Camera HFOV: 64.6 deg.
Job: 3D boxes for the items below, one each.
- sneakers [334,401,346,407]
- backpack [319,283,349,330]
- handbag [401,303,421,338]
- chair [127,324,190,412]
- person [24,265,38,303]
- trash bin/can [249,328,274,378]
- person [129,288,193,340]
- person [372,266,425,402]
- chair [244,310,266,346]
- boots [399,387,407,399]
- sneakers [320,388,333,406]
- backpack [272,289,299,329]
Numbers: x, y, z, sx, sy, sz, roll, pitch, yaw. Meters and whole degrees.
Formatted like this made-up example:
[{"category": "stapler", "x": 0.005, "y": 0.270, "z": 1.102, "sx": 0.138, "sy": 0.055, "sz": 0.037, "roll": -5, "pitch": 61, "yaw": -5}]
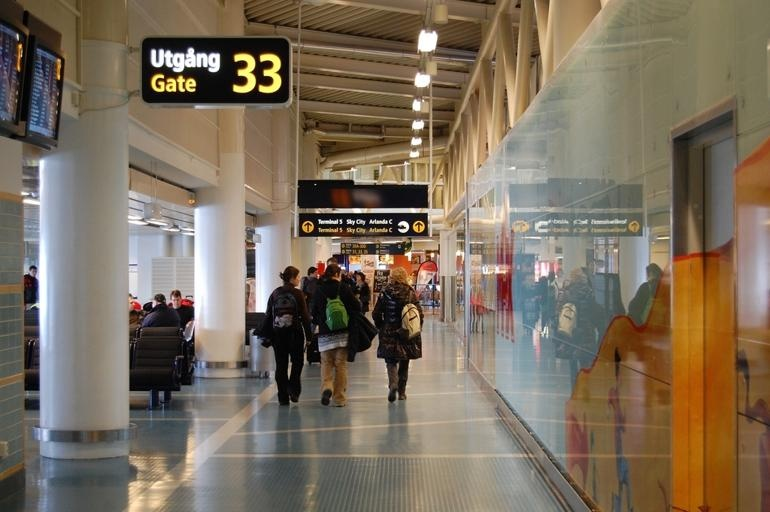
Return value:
[{"category": "sneakers", "x": -0.636, "y": 2.192, "z": 8.955, "sx": 0.172, "sy": 0.063, "sz": 0.157, "roll": 0, "pitch": -2, "yaw": -25}, {"category": "backpack", "x": -0.724, "y": 0.806, "z": 8.935, "sx": 0.355, "sy": 0.560, "sz": 0.345, "roll": -8, "pitch": 11, "yaw": 5}, {"category": "handbag", "x": 0.371, "y": 0.996, "z": 9.169, "sx": 0.335, "sy": 0.493, "sz": 0.233, "roll": -18, "pitch": 16, "yaw": -39}, {"category": "chair", "x": -3.360, "y": 1.673, "z": 8.873, "sx": 0.811, "sy": 1.093, "sz": 0.815, "roll": 2, "pitch": 2, "yaw": -17}, {"category": "person", "x": -7.803, "y": 0.674, "z": 13.412, "sx": 0.226, "sy": 0.857, "sz": 0.442, "roll": 1, "pitch": -2, "yaw": -34}, {"category": "trash bin/can", "x": -2.403, "y": 1.939, "z": 11.807, "sx": 0.511, "sy": 0.865, "sz": 0.516, "roll": -2, "pitch": -11, "yaw": 8}, {"category": "person", "x": -4.105, "y": 1.100, "z": 11.305, "sx": 1.235, "sy": 0.801, "sz": 1.789, "roll": 0, "pitch": -4, "yaw": -10}, {"category": "person", "x": 0.193, "y": 1.221, "z": 9.440, "sx": 0.777, "sy": 2.053, "sz": 0.836, "roll": 0, "pitch": -2, "yaw": 0}, {"category": "chair", "x": -2.828, "y": 1.596, "z": 13.393, "sx": 0.383, "sy": 0.669, "sz": 0.414, "roll": 1, "pitch": -10, "yaw": 11}, {"category": "boots", "x": 0.277, "y": 2.182, "z": 9.554, "sx": 0.138, "sy": 0.269, "sz": 0.198, "roll": 0, "pitch": 0, "yaw": 4}, {"category": "sneakers", "x": -0.847, "y": 2.122, "z": 8.955, "sx": 0.147, "sy": 0.292, "sz": 0.118, "roll": 6, "pitch": 3, "yaw": -6}, {"category": "backpack", "x": -1.470, "y": 0.800, "z": 9.021, "sx": 0.355, "sy": 0.549, "sz": 0.145, "roll": 0, "pitch": -2, "yaw": -9}]
